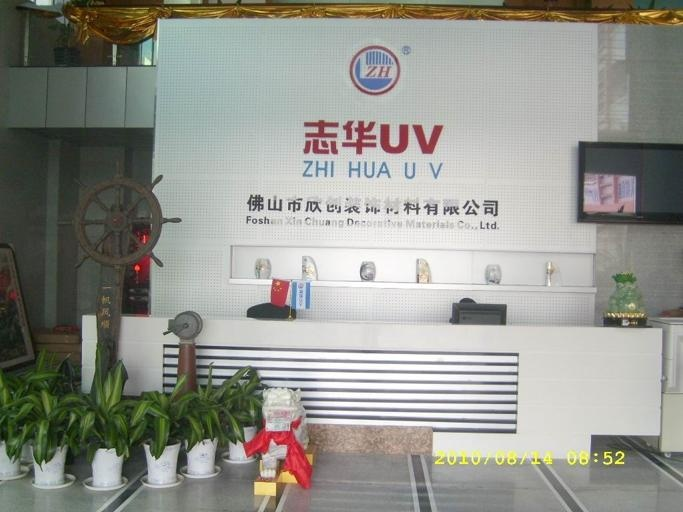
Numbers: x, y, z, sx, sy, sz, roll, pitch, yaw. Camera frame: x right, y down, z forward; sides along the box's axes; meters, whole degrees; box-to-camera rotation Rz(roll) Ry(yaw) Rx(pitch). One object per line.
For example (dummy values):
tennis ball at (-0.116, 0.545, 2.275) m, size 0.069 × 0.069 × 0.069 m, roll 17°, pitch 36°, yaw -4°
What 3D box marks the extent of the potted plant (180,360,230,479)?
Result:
potted plant at (-1.207, 1.481, 5.667) m, size 0.565 × 1.093 × 0.629 m, roll 1°, pitch -3°, yaw -6°
